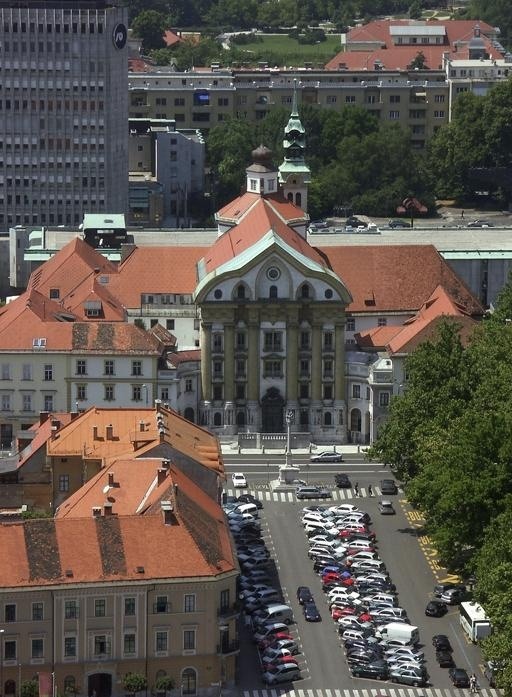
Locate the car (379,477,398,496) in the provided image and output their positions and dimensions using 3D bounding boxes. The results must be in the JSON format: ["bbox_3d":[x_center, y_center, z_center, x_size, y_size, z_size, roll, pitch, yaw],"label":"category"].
[{"bbox_3d":[10.363,10.561,147.646,1.330,0.937,2.259,-5,7,6],"label":"car"}]

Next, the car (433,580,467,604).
[{"bbox_3d":[12.576,15.553,121.671,2.032,0.939,2.106,-10,8,-28],"label":"car"}]

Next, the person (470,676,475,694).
[{"bbox_3d":[12.270,18.658,107.325,0.347,0.623,1.217,-5,7,6],"label":"person"}]

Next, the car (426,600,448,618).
[{"bbox_3d":[11.380,16.117,119.603,1.071,0.720,1.854,-2,8,28],"label":"car"}]

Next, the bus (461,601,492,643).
[{"bbox_3d":[13.327,16.117,114.490,1.214,1.553,3.452,0,21,-5],"label":"bus"}]
